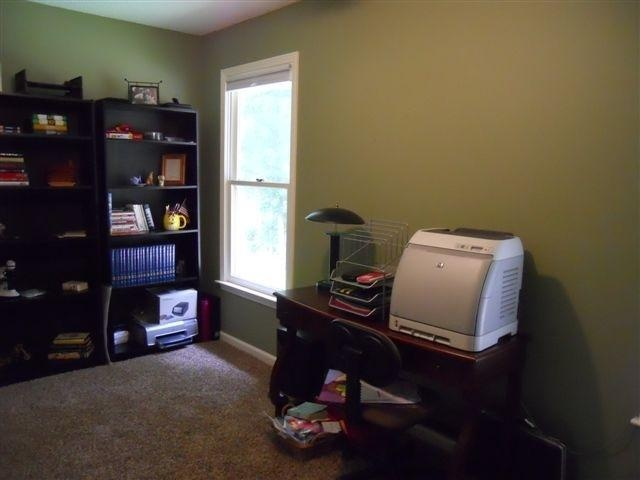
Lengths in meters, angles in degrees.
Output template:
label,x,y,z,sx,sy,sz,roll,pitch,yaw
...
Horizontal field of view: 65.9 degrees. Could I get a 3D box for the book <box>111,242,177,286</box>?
label,x,y,z,sx,sy,sz,roll,pitch,yaw
book,-1.591,0.080,4.362,0.551,0.408,0.304,-2,3,-37

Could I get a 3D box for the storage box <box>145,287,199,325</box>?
label,x,y,z,sx,sy,sz,roll,pitch,yaw
storage box,-1.356,0.477,4.474,0.466,0.348,0.260,-1,3,-42

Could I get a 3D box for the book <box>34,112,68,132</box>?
label,x,y,z,sx,sy,sz,roll,pitch,yaw
book,-2.121,-0.904,3.842,0.203,0.151,0.148,-4,12,-42

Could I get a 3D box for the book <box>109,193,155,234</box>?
label,x,y,z,sx,sy,sz,roll,pitch,yaw
book,-1.674,-0.263,4.319,0.385,0.374,0.358,-6,17,-28

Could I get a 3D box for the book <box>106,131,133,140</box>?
label,x,y,z,sx,sy,sz,roll,pitch,yaw
book,-1.683,-0.878,4.126,0.208,0.060,0.081,-6,17,-25

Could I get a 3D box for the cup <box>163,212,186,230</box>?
label,x,y,z,sx,sy,sz,roll,pitch,yaw
cup,-1.330,-0.174,4.550,0.122,0.149,0.203,-4,-6,31

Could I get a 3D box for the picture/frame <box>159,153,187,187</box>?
label,x,y,z,sx,sy,sz,roll,pitch,yaw
picture/frame,-1.368,-0.647,4.536,0.302,0.448,0.045,1,4,5

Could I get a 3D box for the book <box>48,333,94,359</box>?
label,x,y,z,sx,sy,sz,roll,pitch,yaw
book,-2.077,0.884,4.078,0.223,0.117,0.230,1,0,-5
